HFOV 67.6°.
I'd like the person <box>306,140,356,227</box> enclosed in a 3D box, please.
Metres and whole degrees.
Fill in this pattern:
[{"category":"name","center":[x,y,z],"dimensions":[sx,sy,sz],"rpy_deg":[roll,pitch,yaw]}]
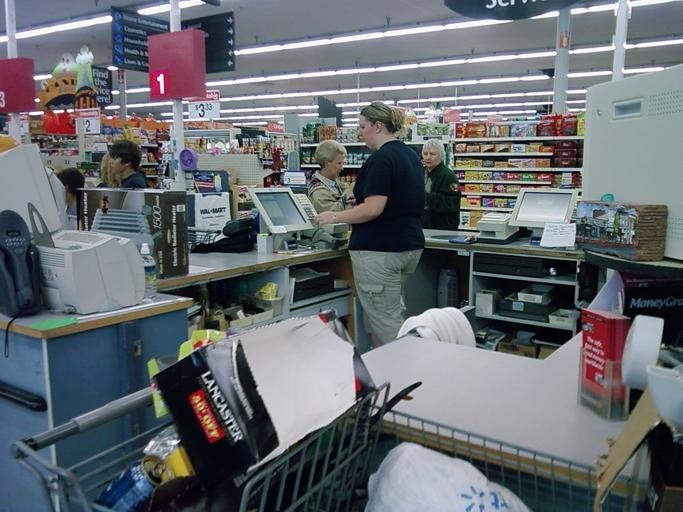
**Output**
[{"category":"person","center":[-0.071,-0.654,4.686],"dimensions":[0.431,0.800,0.913],"rpy_deg":[0,22,8]}]

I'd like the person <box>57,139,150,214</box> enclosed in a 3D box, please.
[{"category":"person","center":[-2.119,-0.690,4.538],"dimensions":[1.232,0.529,0.689],"rpy_deg":[5,8,38]}]

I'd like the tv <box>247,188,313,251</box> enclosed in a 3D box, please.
[{"category":"tv","center":[-0.493,-0.240,4.027],"dimensions":[0.353,0.597,0.506],"rpy_deg":[5,10,35]}]
